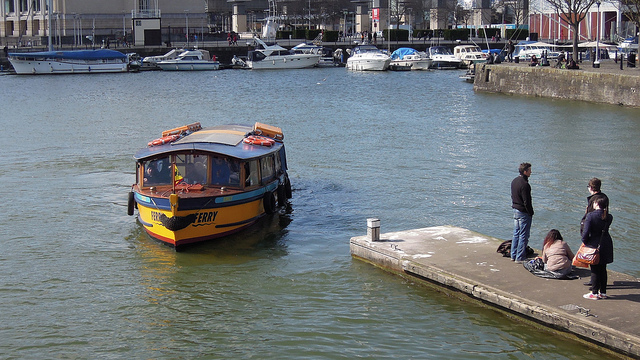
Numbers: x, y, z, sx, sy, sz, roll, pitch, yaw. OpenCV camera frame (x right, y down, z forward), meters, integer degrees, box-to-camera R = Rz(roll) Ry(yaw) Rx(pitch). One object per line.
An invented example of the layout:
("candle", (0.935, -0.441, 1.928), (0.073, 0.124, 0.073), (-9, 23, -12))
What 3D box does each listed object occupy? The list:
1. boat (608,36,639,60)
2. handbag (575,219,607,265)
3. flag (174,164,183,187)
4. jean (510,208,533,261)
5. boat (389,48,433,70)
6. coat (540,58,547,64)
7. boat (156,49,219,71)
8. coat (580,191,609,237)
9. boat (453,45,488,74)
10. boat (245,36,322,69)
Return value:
("boat", (38.559, -16.823, 112.647), (3.098, 1.770, 28.359), (0, 10, 20))
("handbag", (12.848, 3.328, 42.433), (1.221, 1.439, 0.425), (-1, 11, 14))
("flag", (-7.723, -0.281, 48.103), (0.462, 1.030, 0.275), (-5, 11, -9))
("jean", (10.037, 2.722, 44.499), (1.002, 2.709, 0.379), (-2, 11, 10))
("boat", (10.249, -16.119, 119.417), (9.055, 2.868, 2.811), (-2, 7, -2))
("coat", (21.850, -11.652, 86.921), (0.591, 0.593, 0.555), (0, 8, 2))
("boat", (-17.704, -15.980, 118.978), (7.807, 2.899, 1.721), (-8, 11, -24))
("coat", (13.191, 1.646, 43.069), (1.066, 2.160, 0.989), (-2, 0, 11))
("boat", (19.978, -15.260, 114.959), (3.877, 3.052, 6.305), (-1, 18, -8))
("boat", (-5.000, -16.413, 120.059), (8.902, 3.057, 2.666), (-4, 10, -4))
